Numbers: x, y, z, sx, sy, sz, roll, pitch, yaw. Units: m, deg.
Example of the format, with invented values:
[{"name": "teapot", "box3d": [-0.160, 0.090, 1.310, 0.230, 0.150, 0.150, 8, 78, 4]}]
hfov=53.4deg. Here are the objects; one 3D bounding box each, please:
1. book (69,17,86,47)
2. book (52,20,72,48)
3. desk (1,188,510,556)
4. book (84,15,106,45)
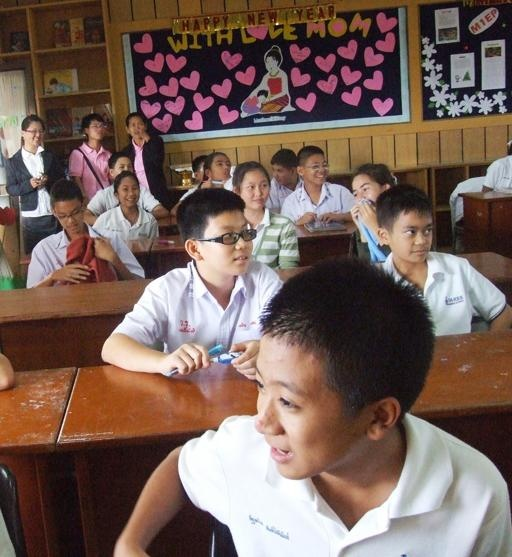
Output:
[{"name": "book", "box3d": [-1.712, -2.343, 4.850, 0.148, 0.263, 0.107, -7, 13, -11]}, {"name": "book", "box3d": [-1.860, -2.319, 4.831, 0.176, 0.267, 0.147, -6, 12, -6]}, {"name": "desk", "box3d": [-0.052, 0.448, 1.565, 1.368, 0.841, 0.683, -2, 43, -7]}, {"name": "book", "box3d": [-1.565, -2.385, 4.890, 0.192, 0.258, 0.085, -6, 12, -6]}]
